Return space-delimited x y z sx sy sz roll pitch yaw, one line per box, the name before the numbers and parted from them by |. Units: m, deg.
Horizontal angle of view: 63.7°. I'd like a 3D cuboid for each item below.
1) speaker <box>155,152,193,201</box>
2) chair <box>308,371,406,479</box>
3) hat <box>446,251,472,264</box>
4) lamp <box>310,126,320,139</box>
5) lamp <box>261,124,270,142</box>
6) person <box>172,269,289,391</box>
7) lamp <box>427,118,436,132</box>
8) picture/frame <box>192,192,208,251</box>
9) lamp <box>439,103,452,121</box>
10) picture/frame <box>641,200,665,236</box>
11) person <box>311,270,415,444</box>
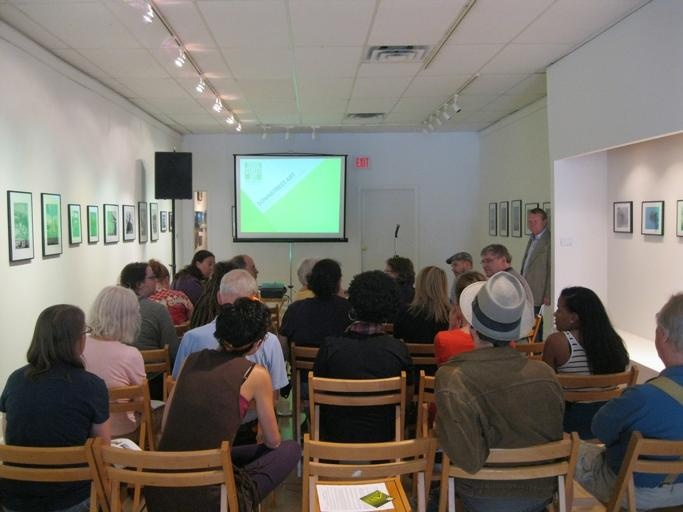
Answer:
speaker | -2.556 -1.236 8.373 0.616 0.963 0.448 0 1 -7
chair | 0.103 1.014 3.443 0.420 0.902 0.573 0 6 -2
hat | 1.627 0.018 7.627 0.250 0.137 0.190 6 -8 -2
lamp | -0.482 -2.271 9.973 0.112 0.060 0.412 -2 -19 -2
lamp | -1.362 -2.257 9.916 0.171 0.377 0.198 0 11 1
person | -0.810 0.640 3.935 0.880 1.044 0.506 5 0 -12
lamp | 1.529 -2.264 9.365 0.159 0.126 0.400 -8 -8 13
picture/frame | -2.630 -0.671 10.320 0.271 1.116 0.169 1 3 -19
lamp | 1.591 -2.232 8.394 0.243 0.080 0.278 -23 -14 19
picture/frame | 3.435 -0.425 6.050 0.044 0.491 0.364 5 -2 -12
person | 0.131 0.630 3.867 0.687 1.143 0.746 2 7 -29
